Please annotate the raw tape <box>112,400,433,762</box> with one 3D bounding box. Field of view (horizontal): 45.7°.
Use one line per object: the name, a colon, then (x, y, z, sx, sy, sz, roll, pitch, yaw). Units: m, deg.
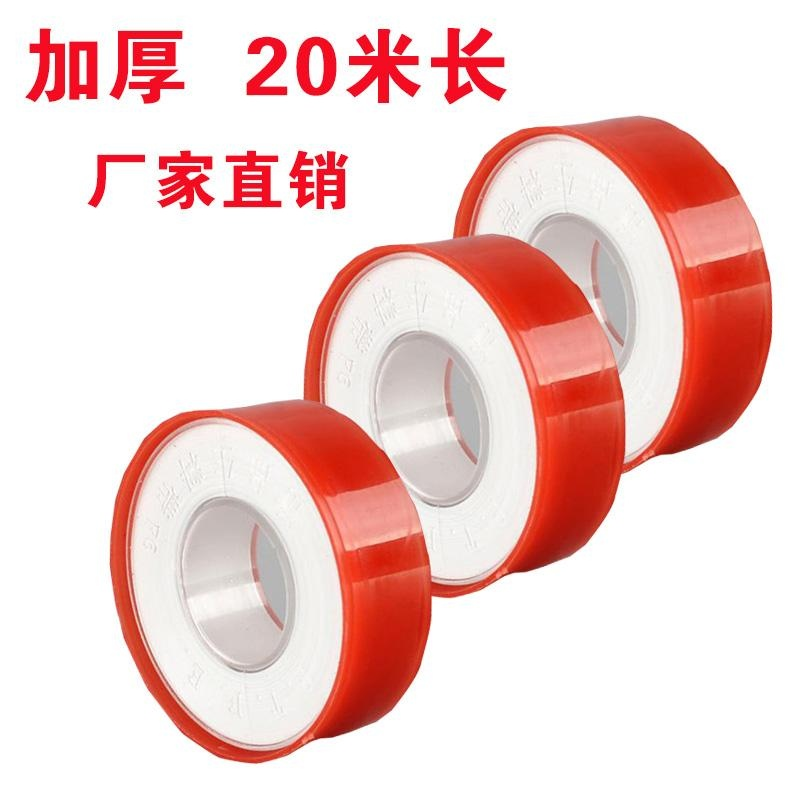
raw tape: (-0.420, 0.532, 2.867, 1.088, 1.069, 0.459, 23, 19, 40)
